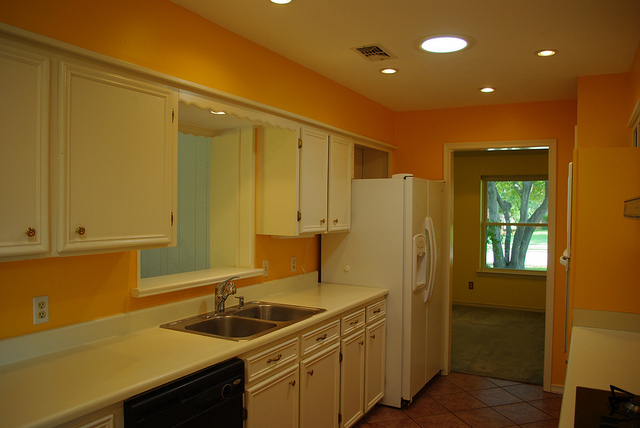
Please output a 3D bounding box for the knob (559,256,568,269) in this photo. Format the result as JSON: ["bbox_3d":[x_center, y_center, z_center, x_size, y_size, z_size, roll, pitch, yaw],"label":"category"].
[{"bbox_3d":[1.935,0.379,3.636,0.066,0.091,0.031,12,-11,-34],"label":"knob"}]

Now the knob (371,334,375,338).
[{"bbox_3d":[0.469,1.090,4.088,0.051,0.046,0.012,1,0,-35],"label":"knob"}]

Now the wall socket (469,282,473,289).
[{"bbox_3d":[2.642,1.242,7.999,0.058,0.118,0.016,3,7,12],"label":"wall socket"}]

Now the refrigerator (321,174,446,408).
[{"bbox_3d":[0.814,0.597,4.779,1.049,2.387,1.410,0,-1,30],"label":"refrigerator"}]

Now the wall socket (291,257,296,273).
[{"bbox_3d":[-0.243,0.465,4.238,0.012,0.138,0.069,5,8,28],"label":"wall socket"}]

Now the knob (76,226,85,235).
[{"bbox_3d":[-1.278,0.087,2.448,0.035,0.037,0.025,10,-11,-36],"label":"knob"}]
